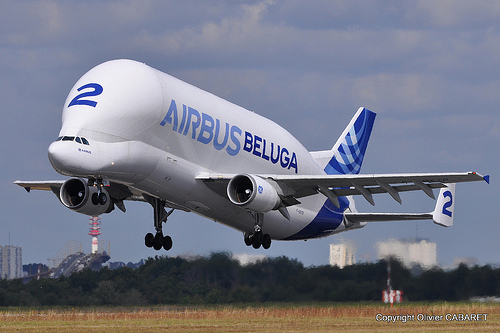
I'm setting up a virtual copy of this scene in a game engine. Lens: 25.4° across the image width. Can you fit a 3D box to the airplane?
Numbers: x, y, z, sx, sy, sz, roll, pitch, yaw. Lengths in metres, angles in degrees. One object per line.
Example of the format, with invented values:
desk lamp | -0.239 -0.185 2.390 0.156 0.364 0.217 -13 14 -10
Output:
airplane | -1.594 -0.016 46.891 13.349 4.564 10.925 -3 -19 41
